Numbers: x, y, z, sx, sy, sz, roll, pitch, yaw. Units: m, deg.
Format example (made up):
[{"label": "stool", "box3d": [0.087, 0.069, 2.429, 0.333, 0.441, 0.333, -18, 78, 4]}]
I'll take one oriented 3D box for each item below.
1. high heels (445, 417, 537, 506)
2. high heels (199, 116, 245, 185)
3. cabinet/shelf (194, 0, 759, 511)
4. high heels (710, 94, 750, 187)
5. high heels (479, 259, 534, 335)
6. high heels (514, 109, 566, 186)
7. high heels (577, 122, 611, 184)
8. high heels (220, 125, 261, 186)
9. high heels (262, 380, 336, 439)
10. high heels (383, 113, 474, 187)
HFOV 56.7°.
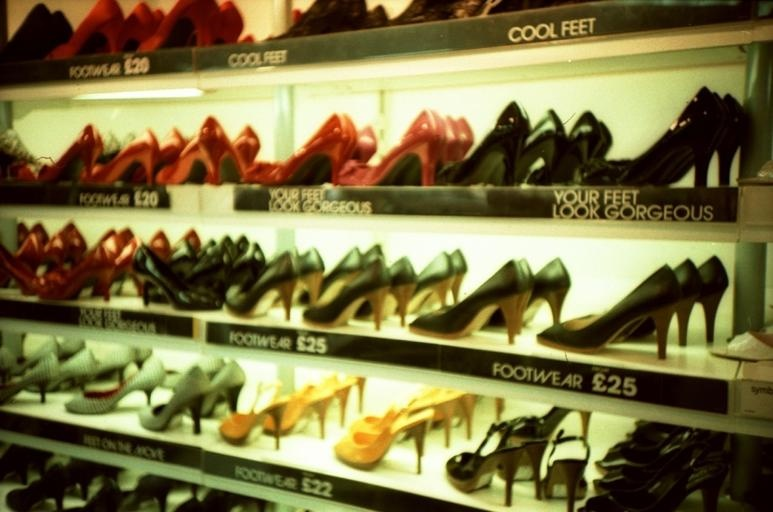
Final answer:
[{"label": "high heels", "box3d": [0.377, 0.799, 2.800, 0.153, 0.191, 0.474, 0, 5, 2]}, {"label": "high heels", "box3d": [-0.697, -0.447, 3.112, 0.147, 0.397, 0.143, 13, 38, 21]}, {"label": "cabinet/shelf", "box3d": [0.386, 0.026, 2.793, 2.058, 1.859, 0.692, 2, 3, 35]}, {"label": "high heels", "box3d": [1.231, -0.427, 2.621, 0.118, 0.348, 0.119, -2, 7, -44]}, {"label": "high heels", "box3d": [0.504, 0.166, 2.778, 0.132, 0.312, 0.197, 1, 4, 38]}, {"label": "high heels", "box3d": [0.602, -0.414, 2.801, 0.129, 0.378, 0.134, 19, 15, 16]}, {"label": "high heels", "box3d": [0.812, -0.391, 2.790, 0.120, 0.312, 0.095, 3, -8, -10]}, {"label": "high heels", "box3d": [-0.637, -0.445, 3.159, 0.115, 0.343, 0.122, 11, -8, 16]}, {"label": "high heels", "box3d": [-0.359, 0.659, 3.125, 0.133, 0.187, 0.441, 5, 12, 42]}, {"label": "high heels", "box3d": [0.161, -0.424, 2.832, 0.161, 0.217, 0.407, 2, 48, 37]}]
